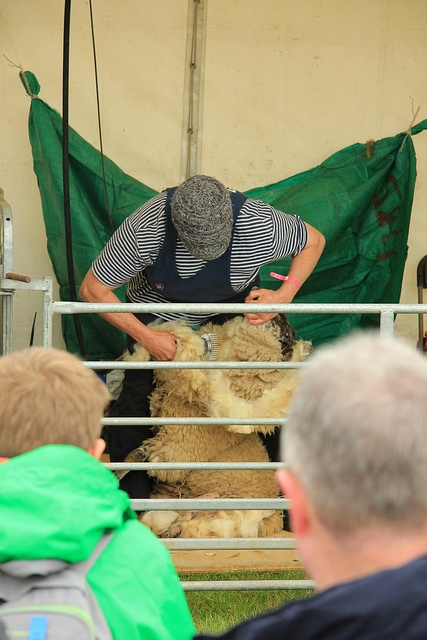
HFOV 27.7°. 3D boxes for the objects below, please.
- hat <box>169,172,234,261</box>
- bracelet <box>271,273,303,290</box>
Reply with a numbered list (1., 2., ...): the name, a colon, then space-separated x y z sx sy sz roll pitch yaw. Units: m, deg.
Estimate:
1. hat: -0.036 -0.294 2.582 0.206 0.224 0.205 -12 -26 -4
2. bracelet: 0.236 -0.133 2.982 0.125 0.041 0.070 20 7 6
